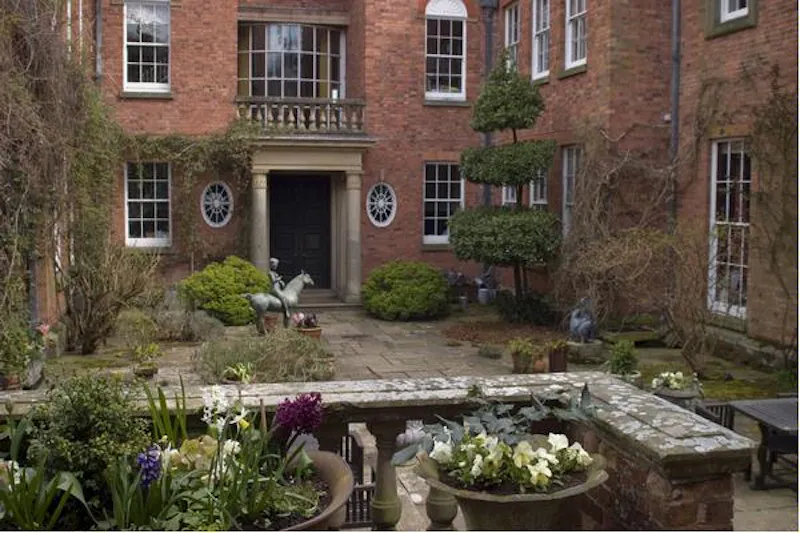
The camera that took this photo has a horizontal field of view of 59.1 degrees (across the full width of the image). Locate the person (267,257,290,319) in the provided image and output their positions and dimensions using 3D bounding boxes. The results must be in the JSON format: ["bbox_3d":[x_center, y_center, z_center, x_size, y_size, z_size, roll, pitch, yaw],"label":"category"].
[{"bbox_3d":[-2.208,0.473,12.841,0.325,1.264,1.757,-3,4,-10],"label":"person"}]

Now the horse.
[{"bbox_3d":[-2.246,0.673,12.780,1.410,1.092,0.363,-7,12,-34],"label":"horse"}]

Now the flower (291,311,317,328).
[{"bbox_3d":[-1.585,0.898,11.650,0.346,0.174,0.353,2,-7,0],"label":"flower"}]
